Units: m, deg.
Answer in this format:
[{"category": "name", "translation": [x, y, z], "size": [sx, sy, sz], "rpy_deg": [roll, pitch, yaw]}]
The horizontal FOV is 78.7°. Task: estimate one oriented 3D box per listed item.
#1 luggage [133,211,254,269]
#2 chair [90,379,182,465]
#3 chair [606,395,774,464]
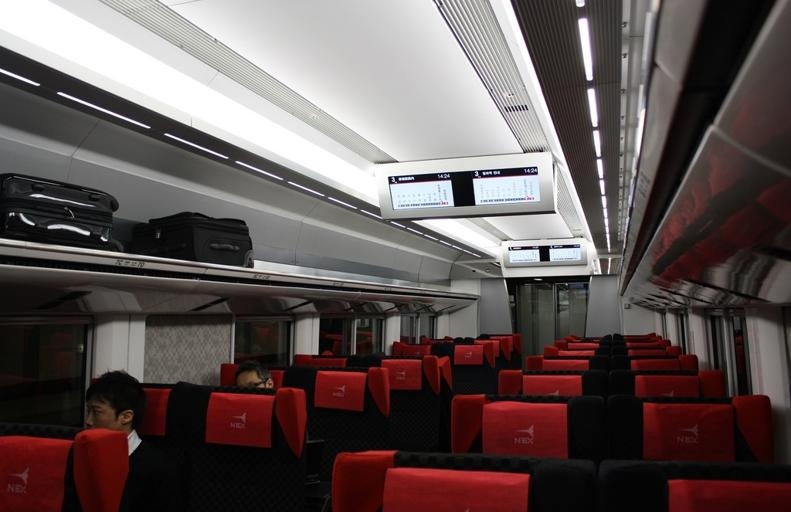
[{"category": "luggage", "translation": [-2.236, -0.105, 5.358], "size": [1.114, 0.487, 0.870], "rpy_deg": [-3, -9, 25]}, {"category": "chair", "translation": [-2.100, 1.195, 3.610], "size": [0.437, 0.570, 0.373], "rpy_deg": [5, -15, -36]}, {"category": "chair", "translation": [2.112, 1.289, 3.295], "size": [0.531, 0.482, 0.944], "rpy_deg": [34, -34, -26]}]
